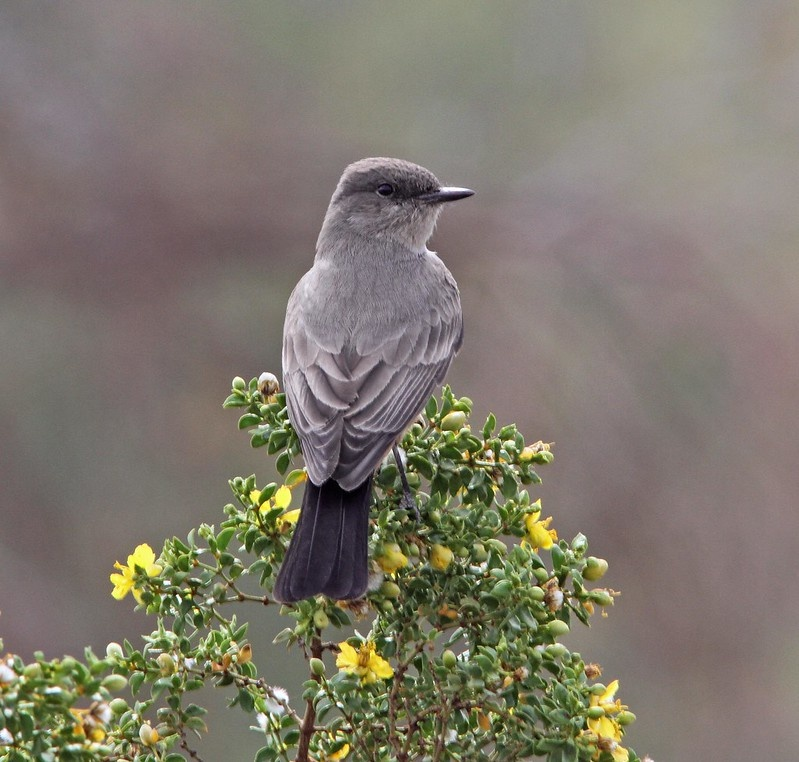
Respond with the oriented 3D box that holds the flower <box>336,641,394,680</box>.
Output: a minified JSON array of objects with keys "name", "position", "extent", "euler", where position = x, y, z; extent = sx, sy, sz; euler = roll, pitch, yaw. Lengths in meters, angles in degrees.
[{"name":"flower","position":[-0.114,0.975,5.257],"extent":[0.146,0.138,0.075],"euler":[20,-61,-18]}]
